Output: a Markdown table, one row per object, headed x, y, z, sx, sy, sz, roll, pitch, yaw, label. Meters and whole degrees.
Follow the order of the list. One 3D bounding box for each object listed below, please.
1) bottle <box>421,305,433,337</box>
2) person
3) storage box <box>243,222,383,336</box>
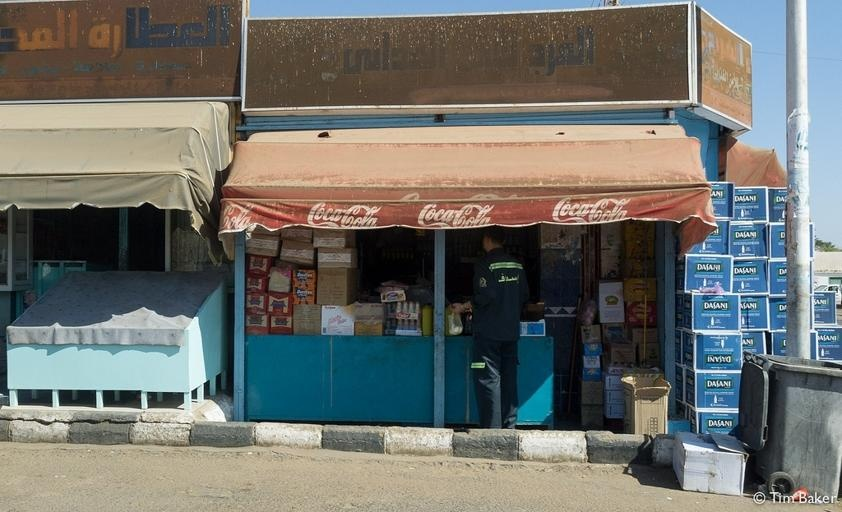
| x | y | z | sx | sy | sz | roll | pitch | yaw | label |
| --- | --- | --- | --- | --- | --- | --- | --- | --- | --- |
| 0.081 | 1.057 | 20.141 | 0.192 | 0.499 | 0.094 | 0 | -5 | -1 | bottle |
| 1.234 | 1.201 | 19.770 | 0.871 | 3.105 | 0.428 | 0 | -5 | -5 | person |
| -1.842 | 0.492 | 20.988 | 3.197 | 2.612 | 1.615 | 0 | -5 | 1 | storage box |
